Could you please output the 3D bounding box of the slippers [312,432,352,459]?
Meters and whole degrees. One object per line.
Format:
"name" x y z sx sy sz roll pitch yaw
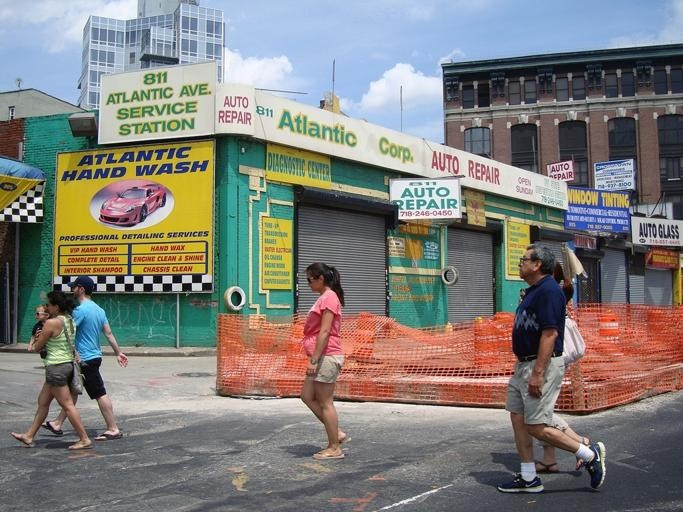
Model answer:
"slippers" -0.128 2.346 9.077 0.404 0.257 0.186 4 -9 -1

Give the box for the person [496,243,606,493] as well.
"person" 2.194 1.189 8.038 0.995 1.960 0.536 -1 0 15

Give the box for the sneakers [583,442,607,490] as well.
"sneakers" 2.744 2.222 8.037 0.266 0.541 0.203 -5 1 0

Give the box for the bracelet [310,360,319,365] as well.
"bracelet" -0.334 1.257 8.857 0.065 0.043 0.072 1 -5 3

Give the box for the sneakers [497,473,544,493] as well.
"sneakers" 1.905 2.438 8.024 0.490 0.207 0.187 3 -10 5

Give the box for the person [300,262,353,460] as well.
"person" -0.232 1.256 9.102 0.516 2.027 0.506 -1 0 0

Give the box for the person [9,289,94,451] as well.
"person" -3.703 1.459 9.635 0.834 2.054 0.800 -1 0 -23
